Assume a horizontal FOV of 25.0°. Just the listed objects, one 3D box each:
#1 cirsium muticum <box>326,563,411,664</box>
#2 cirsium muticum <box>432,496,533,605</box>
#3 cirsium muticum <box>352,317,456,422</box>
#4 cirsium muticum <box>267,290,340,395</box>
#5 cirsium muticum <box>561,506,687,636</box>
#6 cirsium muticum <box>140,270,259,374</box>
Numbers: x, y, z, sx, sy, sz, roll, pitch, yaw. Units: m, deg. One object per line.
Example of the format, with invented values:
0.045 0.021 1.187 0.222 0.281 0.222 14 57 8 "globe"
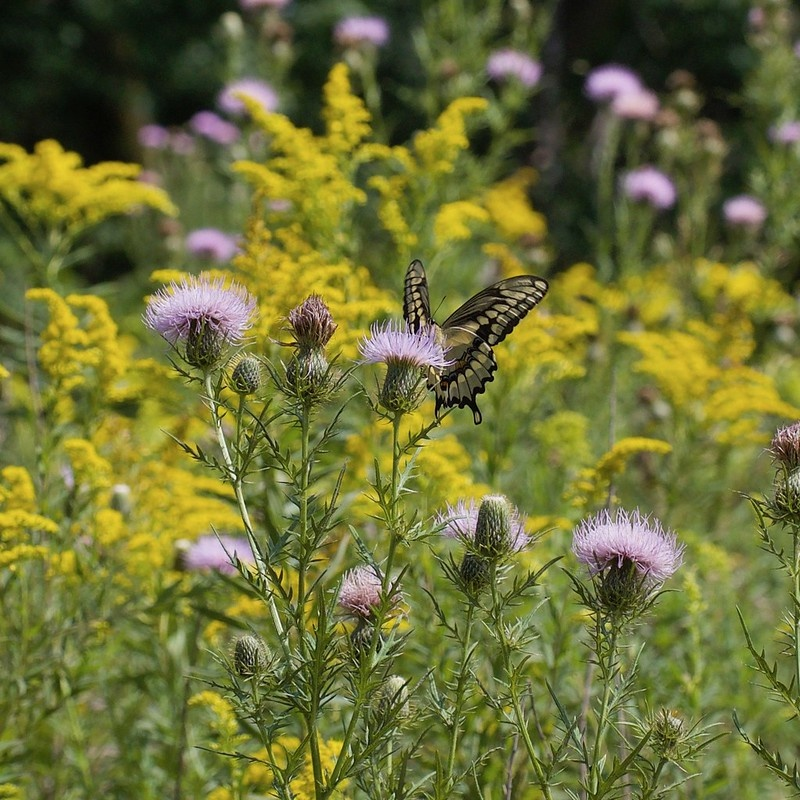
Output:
-0.139 0.892 7.653 0.253 0.293 0.403 2 94 13 "cirsium muticum"
0.324 0.577 7.447 0.313 0.337 0.397 16 111 14 "cirsium muticum"
0.066 -0.120 7.547 0.313 0.340 0.398 24 92 44 "cirsium muticum"
-0.368 -0.227 7.378 0.326 0.354 0.509 1 88 -21 "cirsium muticum"
0.874 0.644 7.513 0.430 0.457 0.510 23 93 -24 "cirsium muticum"
-0.843 -0.373 7.546 0.393 0.428 0.415 1 28 18 "cirsium muticum"
